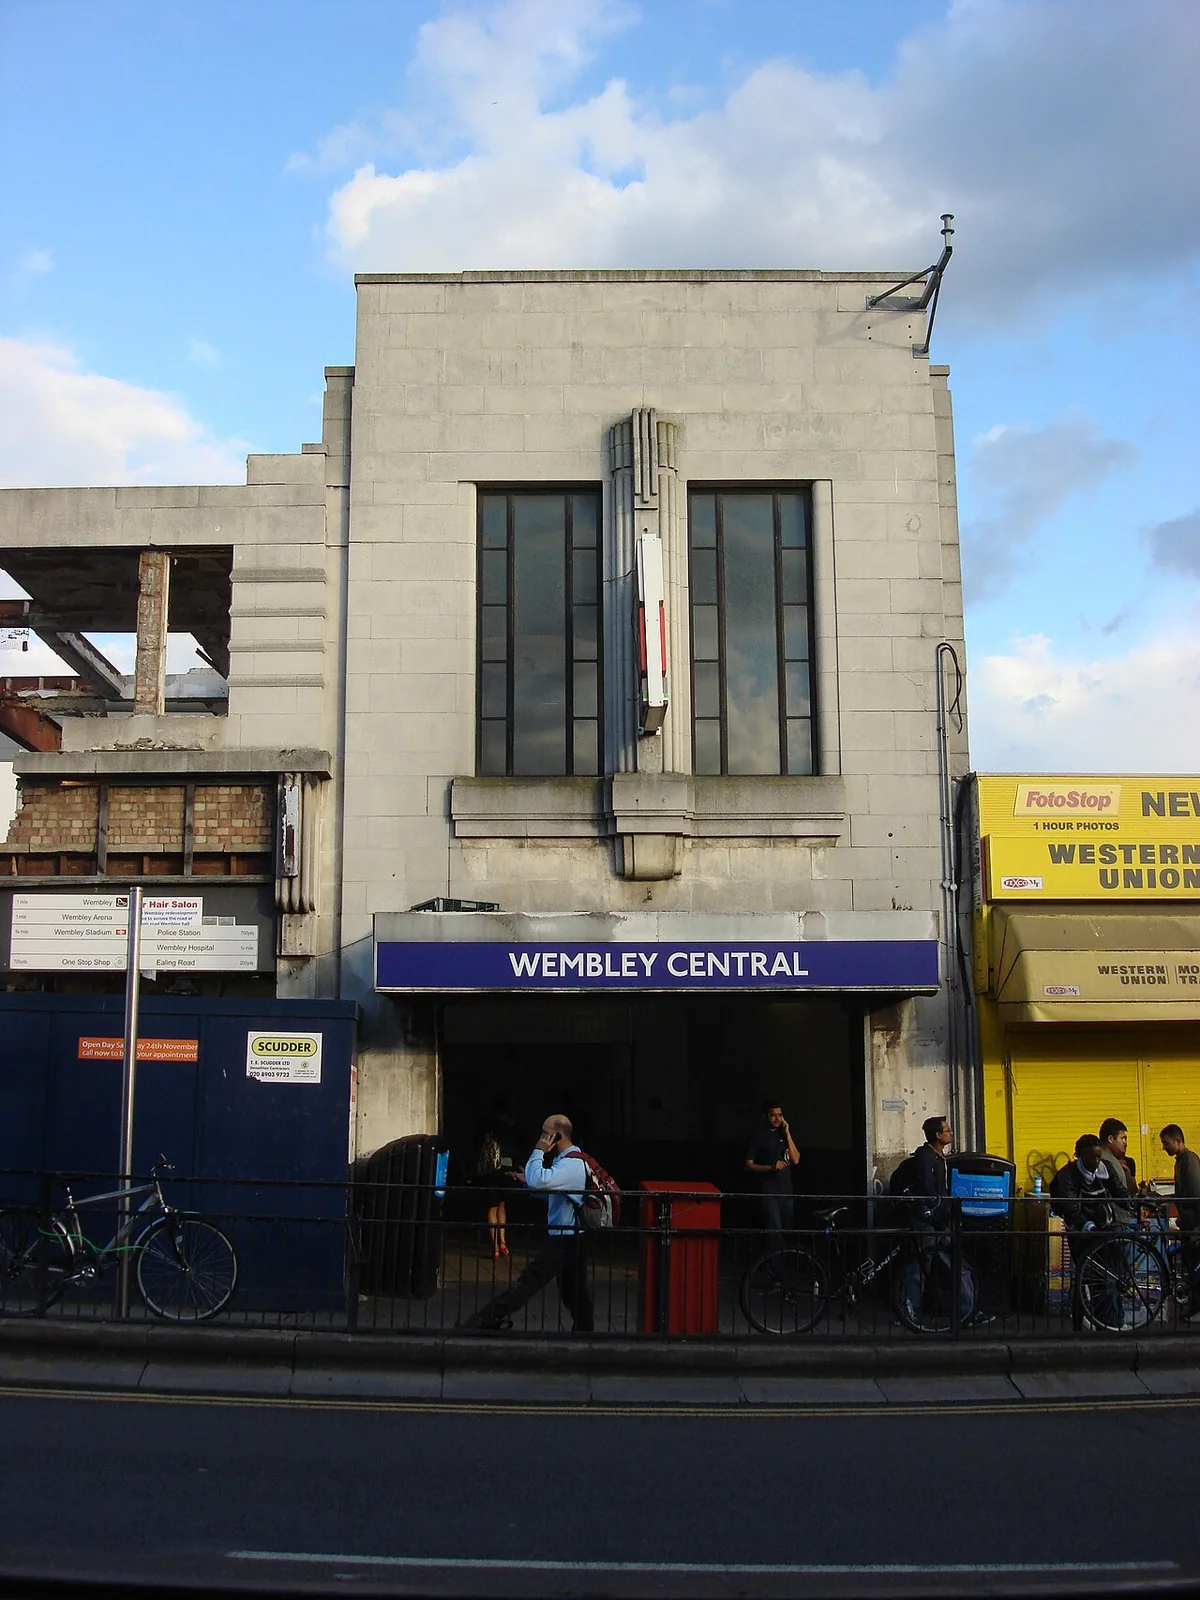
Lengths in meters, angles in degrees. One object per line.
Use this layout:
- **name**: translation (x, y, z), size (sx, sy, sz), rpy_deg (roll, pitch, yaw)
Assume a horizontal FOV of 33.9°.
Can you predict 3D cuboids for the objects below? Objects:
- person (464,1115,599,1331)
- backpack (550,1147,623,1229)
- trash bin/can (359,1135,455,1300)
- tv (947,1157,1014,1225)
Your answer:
- **person**: translation (-0.334, 2.845, 13.303), size (0.710, 1.048, 0.932), rpy_deg (1, -1, 24)
- **backpack**: translation (-0.060, 2.736, 13.578), size (0.415, 0.717, 0.580), rpy_deg (-9, -28, 7)
- **trash bin/can**: translation (-1.468, 2.967, 14.386), size (0.657, 0.773, 2.607), rpy_deg (1, 0, -6)
- **tv**: translation (2.851, 2.900, 14.727), size (0.586, 0.403, 0.751), rpy_deg (-1, -4, 9)
